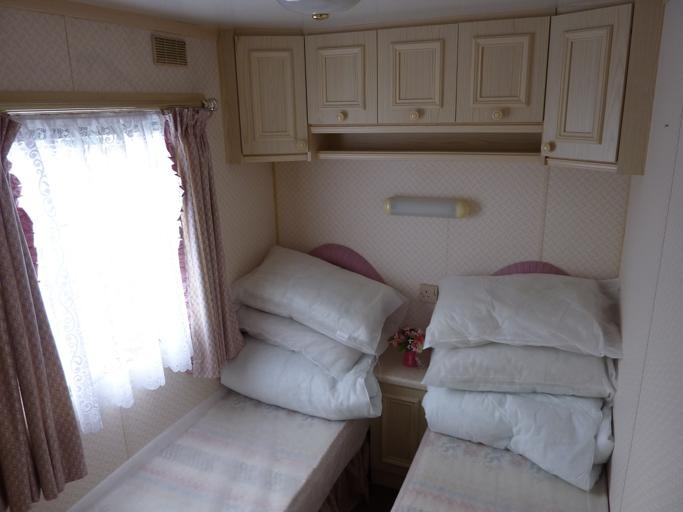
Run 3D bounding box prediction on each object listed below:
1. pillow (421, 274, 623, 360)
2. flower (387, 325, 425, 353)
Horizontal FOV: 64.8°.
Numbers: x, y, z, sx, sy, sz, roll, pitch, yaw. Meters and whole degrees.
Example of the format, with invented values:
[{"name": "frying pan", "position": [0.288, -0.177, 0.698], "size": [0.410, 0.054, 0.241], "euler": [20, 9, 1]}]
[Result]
[{"name": "pillow", "position": [0.910, 0.280, 2.695], "size": [0.640, 0.173, 0.515], "euler": [2, 40, 25]}, {"name": "flower", "position": [0.392, 0.481, 3.090], "size": [0.152, 0.091, 0.156], "euler": [15, 22, 36]}]
